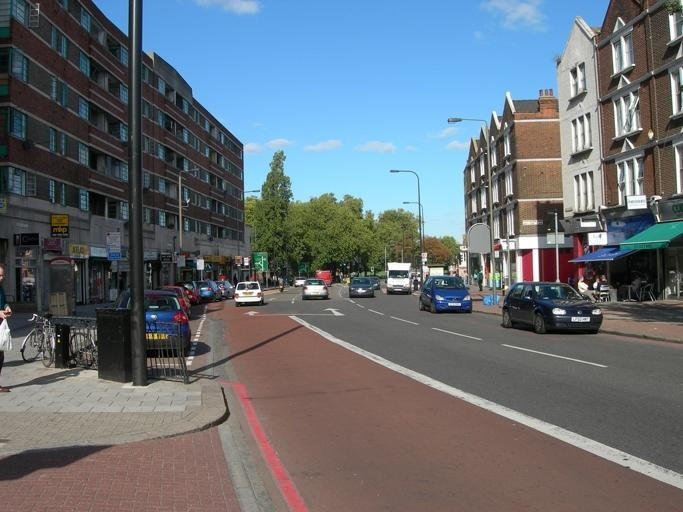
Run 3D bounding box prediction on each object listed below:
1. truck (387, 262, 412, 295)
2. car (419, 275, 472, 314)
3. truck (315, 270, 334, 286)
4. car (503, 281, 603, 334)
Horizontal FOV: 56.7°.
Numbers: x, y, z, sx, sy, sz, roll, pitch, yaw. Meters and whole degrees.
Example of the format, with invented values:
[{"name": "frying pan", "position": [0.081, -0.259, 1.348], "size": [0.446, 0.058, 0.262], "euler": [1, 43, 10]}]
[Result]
[{"name": "truck", "position": [4.875, 2.062, 53.817], "size": [1.734, 2.149, 3.883], "euler": [-1, -6, 4]}, {"name": "car", "position": [4.893, 1.767, 29.411], "size": [2.170, 1.800, 2.404], "euler": [-3, -5, 4]}, {"name": "truck", "position": [-2.624, 3.050, 84.527], "size": [1.710, 1.898, 3.131], "euler": [0, 2, 7]}, {"name": "car", "position": [6.589, 1.589, 20.022], "size": [1.530, 1.645, 3.221], "euler": [-1, -5, -15]}]
